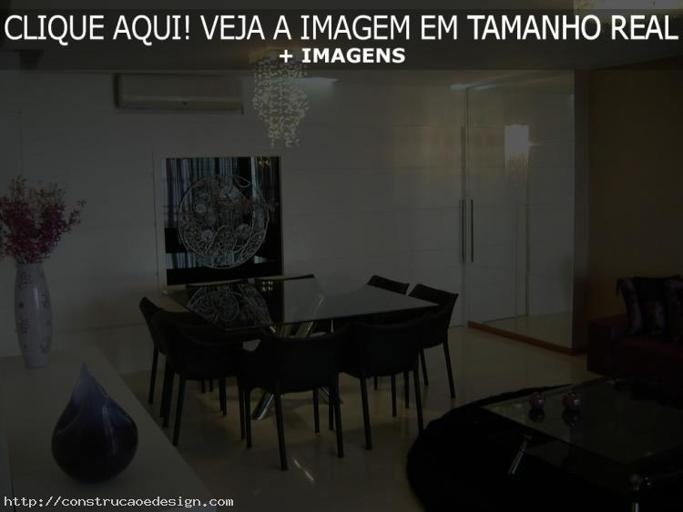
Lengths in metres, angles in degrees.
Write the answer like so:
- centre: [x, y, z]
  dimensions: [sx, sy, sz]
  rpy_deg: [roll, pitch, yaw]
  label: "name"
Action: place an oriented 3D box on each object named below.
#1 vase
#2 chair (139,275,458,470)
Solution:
- centre: [-1.762, 0.322, 3.057]
  dimensions: [0.185, 0.584, 0.218]
  rpy_deg: [-9, 11, -34]
  label: "vase"
- centre: [-0.528, 0.825, 4.980]
  dimensions: [2.937, 1.105, 2.067]
  rpy_deg: [1, 11, 29]
  label: "chair"
